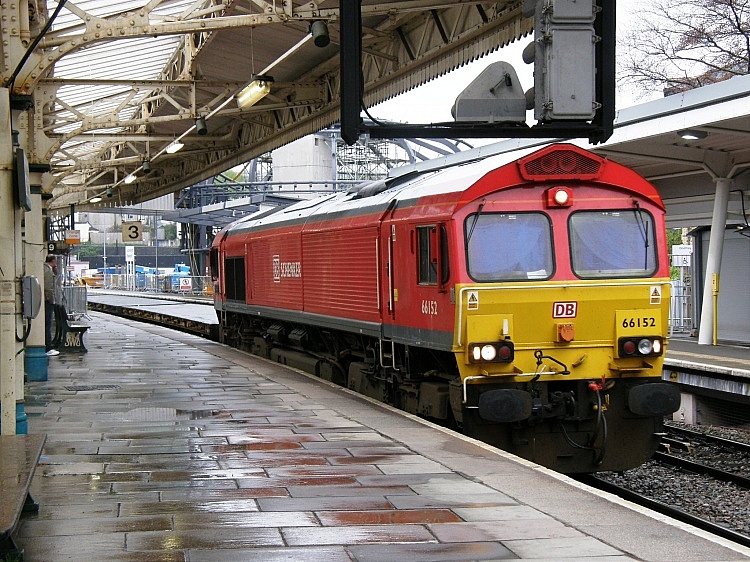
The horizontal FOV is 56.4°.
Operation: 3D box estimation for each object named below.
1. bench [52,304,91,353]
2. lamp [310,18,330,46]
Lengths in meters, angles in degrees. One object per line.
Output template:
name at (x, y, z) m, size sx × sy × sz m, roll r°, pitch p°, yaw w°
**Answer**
bench at (-8.353, 1.177, 19.140) m, size 0.920 × 1.204 × 1.233 m, roll 5°, pitch 13°, yaw -27°
lamp at (-0.897, -3.956, 11.133) m, size 0.284 × 0.469 × 0.470 m, roll 0°, pitch 1°, yaw -7°
